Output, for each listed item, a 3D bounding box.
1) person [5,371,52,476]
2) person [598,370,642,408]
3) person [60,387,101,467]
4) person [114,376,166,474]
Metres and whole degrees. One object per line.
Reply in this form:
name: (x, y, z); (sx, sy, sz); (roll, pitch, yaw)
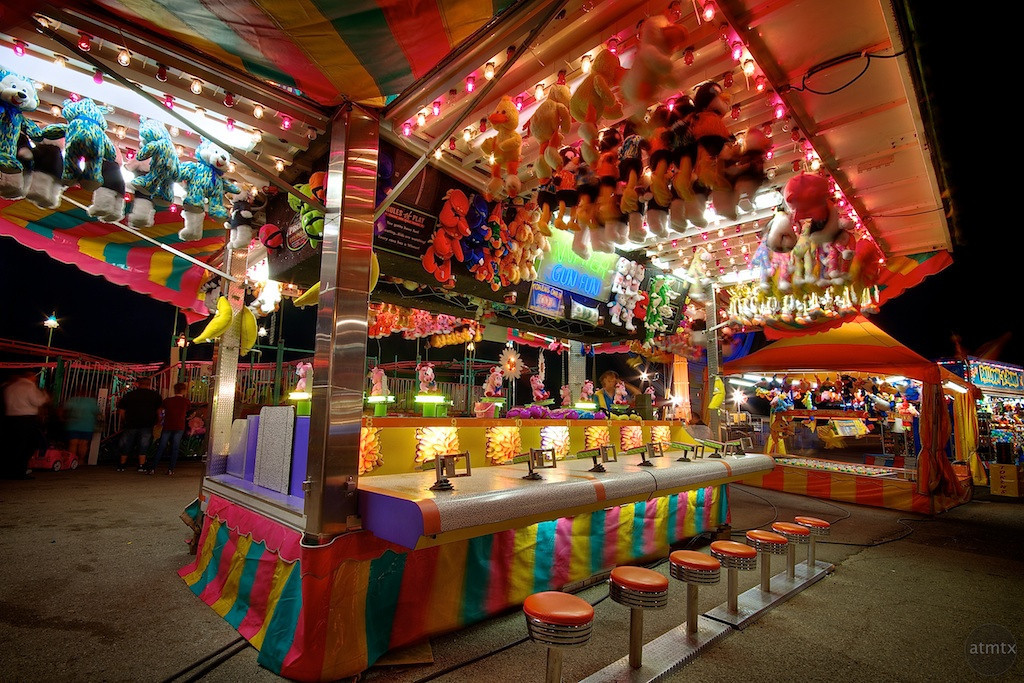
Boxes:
person: (-8.509, 1.427, 10.097); (0.558, 1.778, 0.498); (7, -11, -37)
person: (1.780, 0.856, 9.715); (0.803, 0.806, 0.499); (3, -17, 2)
person: (-8.326, 1.749, 11.189); (0.535, 1.386, 0.852); (7, -11, -36)
person: (-7.158, 1.596, 11.200); (0.669, 1.799, 1.204); (6, -10, -31)
